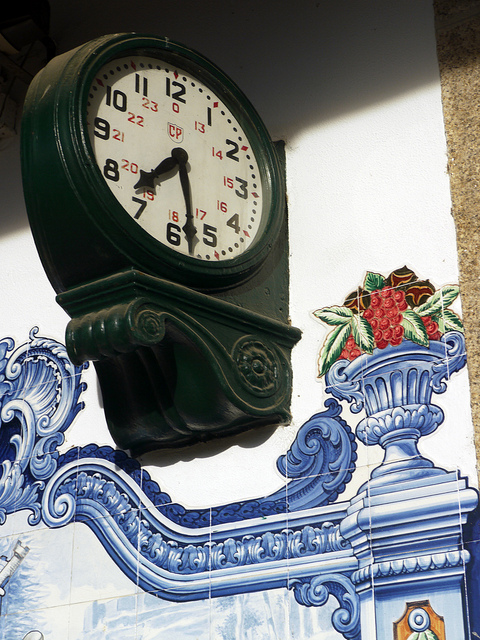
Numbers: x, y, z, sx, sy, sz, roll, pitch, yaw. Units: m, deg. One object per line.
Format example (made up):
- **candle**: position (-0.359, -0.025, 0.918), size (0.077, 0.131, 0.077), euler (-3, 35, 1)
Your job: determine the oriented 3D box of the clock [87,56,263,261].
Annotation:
- **clock**: position (-0.135, -0.344, 3.938), size (0.520, 0.541, 0.042), euler (19, -36, -35)
